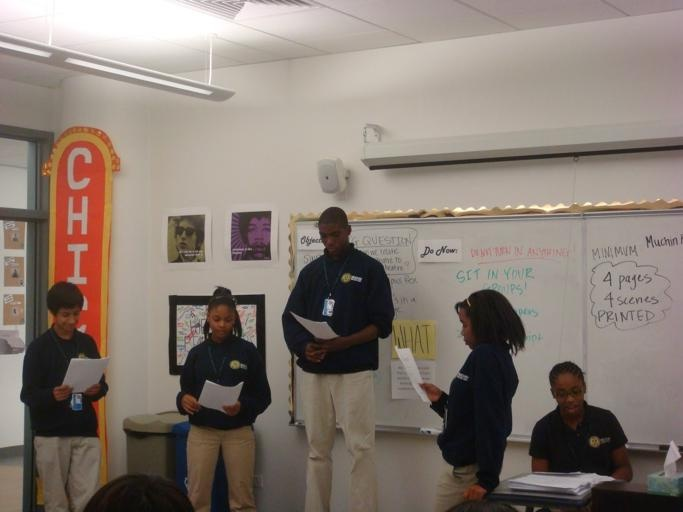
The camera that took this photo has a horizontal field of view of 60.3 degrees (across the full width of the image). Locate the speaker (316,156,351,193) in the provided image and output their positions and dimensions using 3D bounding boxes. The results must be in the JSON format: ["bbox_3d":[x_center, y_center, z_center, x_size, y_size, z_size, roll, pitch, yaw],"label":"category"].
[{"bbox_3d":[-0.054,-0.612,4.422,0.239,0.258,0.138,-3,9,18],"label":"speaker"}]

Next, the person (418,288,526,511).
[{"bbox_3d":[0.702,0.744,2.927,0.427,1.148,0.770,0,-2,-2],"label":"person"}]

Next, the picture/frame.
[{"bbox_3d":[-0.883,0.586,4.339,0.690,0.530,0.031,0,-2,19],"label":"picture/frame"}]

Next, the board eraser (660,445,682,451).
[{"bbox_3d":[2.038,1.207,3.691,0.080,0.019,0.043,0,5,19],"label":"board eraser"}]
